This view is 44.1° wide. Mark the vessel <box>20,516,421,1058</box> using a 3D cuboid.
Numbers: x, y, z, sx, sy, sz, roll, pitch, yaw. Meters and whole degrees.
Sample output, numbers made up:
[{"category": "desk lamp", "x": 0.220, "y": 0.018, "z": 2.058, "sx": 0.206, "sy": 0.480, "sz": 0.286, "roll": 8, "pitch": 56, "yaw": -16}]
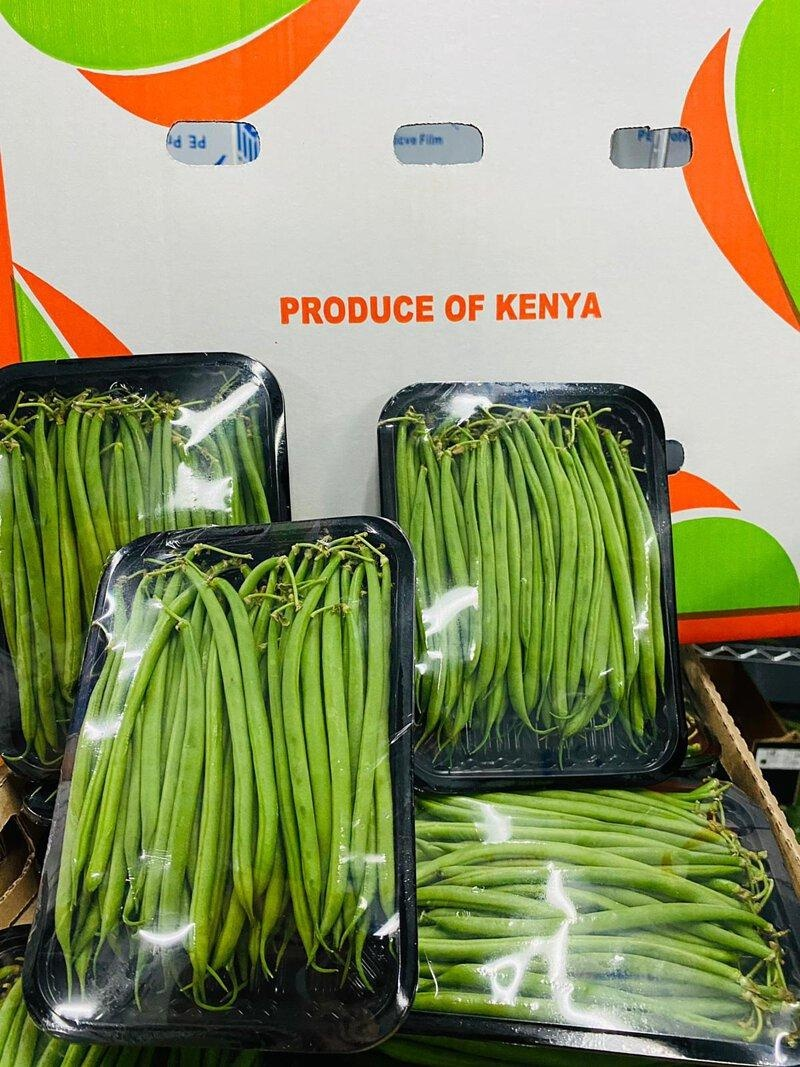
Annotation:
[{"category": "vessel", "x": -0.149, "y": 0.202, "z": 0.912, "sx": 0.325, "sy": 0.416, "sz": 0.270, "roll": 0, "pitch": 5, "yaw": 0}]
